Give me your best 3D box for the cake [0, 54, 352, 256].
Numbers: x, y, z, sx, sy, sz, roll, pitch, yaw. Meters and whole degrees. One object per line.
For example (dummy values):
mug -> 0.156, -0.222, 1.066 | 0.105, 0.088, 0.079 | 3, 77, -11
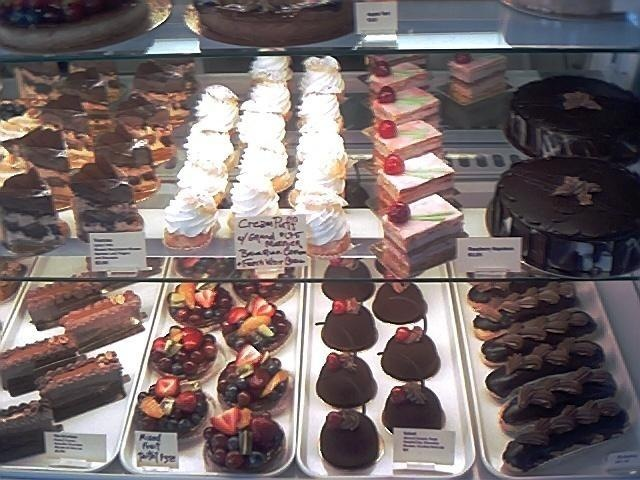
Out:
cake -> -0.425, -0.284, 2.164 | 1.363, 0.268, 0.991 | -1, 42, -1

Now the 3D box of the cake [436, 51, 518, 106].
cake -> 0.668, -0.736, 2.367 | 0.364, 0.189, 0.283 | -25, 41, -27

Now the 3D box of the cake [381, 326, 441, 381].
cake -> 0.397, 0.520, 2.308 | 0.319, 0.138, 0.239 | -2, 36, 0
